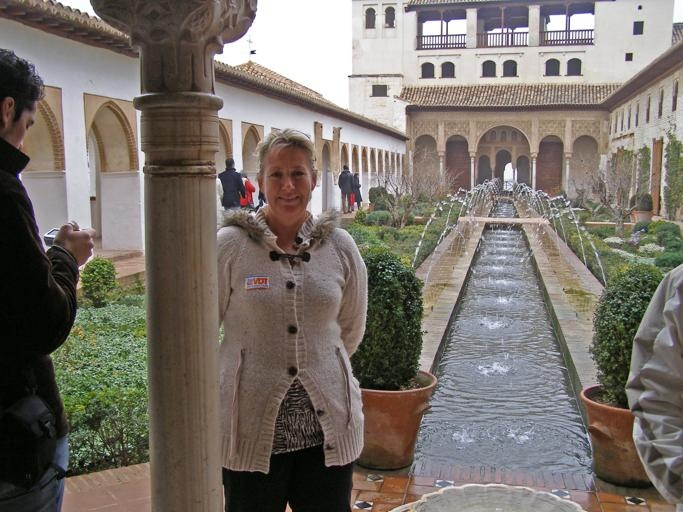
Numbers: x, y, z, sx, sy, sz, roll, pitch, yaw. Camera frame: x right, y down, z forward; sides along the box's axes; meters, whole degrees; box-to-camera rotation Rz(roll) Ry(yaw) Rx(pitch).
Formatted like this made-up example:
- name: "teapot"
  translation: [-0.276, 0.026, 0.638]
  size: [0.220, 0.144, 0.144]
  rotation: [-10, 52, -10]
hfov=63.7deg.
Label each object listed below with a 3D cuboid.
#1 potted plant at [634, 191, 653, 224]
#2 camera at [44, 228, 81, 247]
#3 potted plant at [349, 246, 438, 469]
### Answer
- name: "potted plant"
  translation: [10.711, -1.750, 19.574]
  size: [0.576, 0.990, 0.647]
  rotation: [4, 10, 28]
- name: "camera"
  translation: [-0.869, -0.060, 1.718]
  size: [0.068, 0.023, 0.070]
  rotation: [-15, 31, 14]
- name: "potted plant"
  translation: [0.321, 0.683, 3.685]
  size: [0.590, 1.322, 0.605]
  rotation: [0, -2, 14]
